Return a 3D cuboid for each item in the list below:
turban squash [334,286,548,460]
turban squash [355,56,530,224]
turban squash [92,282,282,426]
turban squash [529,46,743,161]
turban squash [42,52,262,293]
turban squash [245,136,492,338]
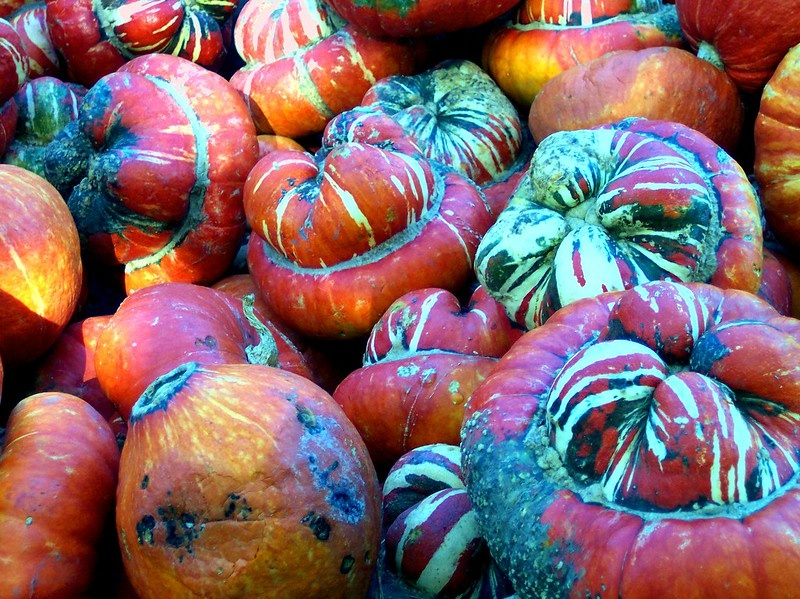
[{"bbox_3d":[0.083,0.182,1.764,0.332,0.341,0.359,-7,42,13],"label":"turban squash"},{"bbox_3d":[0.150,-0.388,2.149,0.371,0.120,0.414,11,70,-4],"label":"turban squash"},{"bbox_3d":[-0.403,0.081,1.655,0.282,0.299,0.297,1,59,36],"label":"turban squash"},{"bbox_3d":[0.551,-0.460,1.875,0.293,0.325,0.310,12,20,5],"label":"turban squash"},{"bbox_3d":[-0.564,-0.309,1.956,0.494,0.563,0.172,29,6,-9],"label":"turban squash"},{"bbox_3d":[-0.068,-0.101,1.876,0.439,0.352,0.453,-17,37,-7],"label":"turban squash"}]
